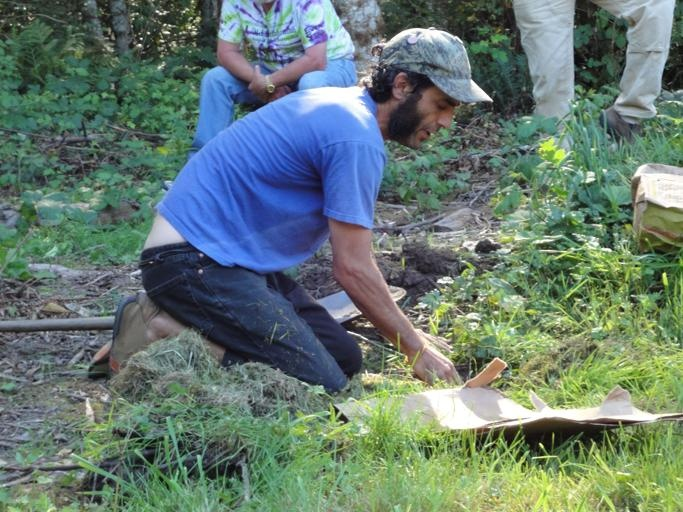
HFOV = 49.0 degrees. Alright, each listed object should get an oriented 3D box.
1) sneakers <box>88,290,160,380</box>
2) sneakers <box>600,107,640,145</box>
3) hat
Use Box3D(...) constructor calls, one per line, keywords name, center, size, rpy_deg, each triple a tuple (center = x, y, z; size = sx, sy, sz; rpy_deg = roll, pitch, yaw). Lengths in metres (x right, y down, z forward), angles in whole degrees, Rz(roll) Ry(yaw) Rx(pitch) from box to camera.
Box3D(name="sneakers", center=(-1.126, 0.422, 3.871), size=(0.176, 0.517, 0.239), rpy_deg=(31, 30, -4))
Box3D(name="sneakers", center=(2.172, -0.999, 5.921), size=(0.196, 0.180, 0.110), rpy_deg=(39, 30, 7))
Box3D(name="hat", center=(0.425, -0.967, 3.865), size=(0.665, 0.308, 0.409), rpy_deg=(9, 4, 5))
